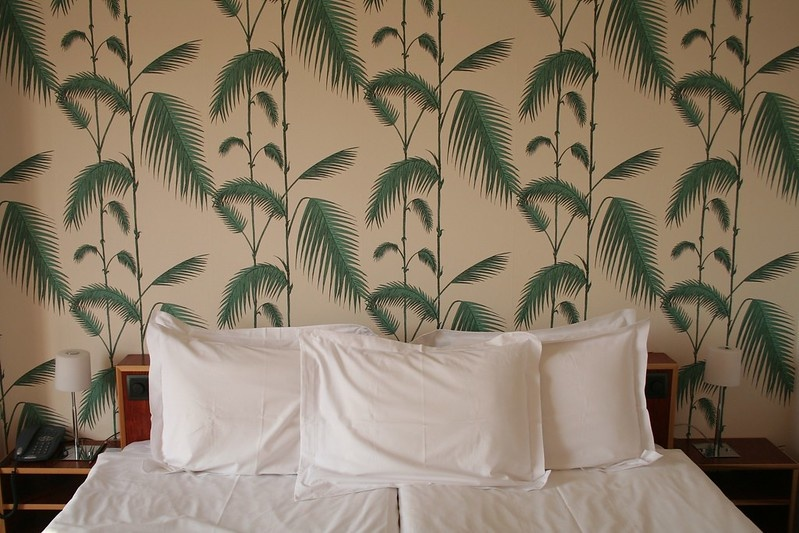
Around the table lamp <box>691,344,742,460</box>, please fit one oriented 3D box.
[{"bbox_3d":[1.837,0.772,3.784,0.249,0.578,0.282,-2,-1,17],"label":"table lamp"}]

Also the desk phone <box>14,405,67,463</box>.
[{"bbox_3d":[-2.044,0.979,3.718,0.246,0.142,0.333,-1,13,-26],"label":"desk phone"}]
